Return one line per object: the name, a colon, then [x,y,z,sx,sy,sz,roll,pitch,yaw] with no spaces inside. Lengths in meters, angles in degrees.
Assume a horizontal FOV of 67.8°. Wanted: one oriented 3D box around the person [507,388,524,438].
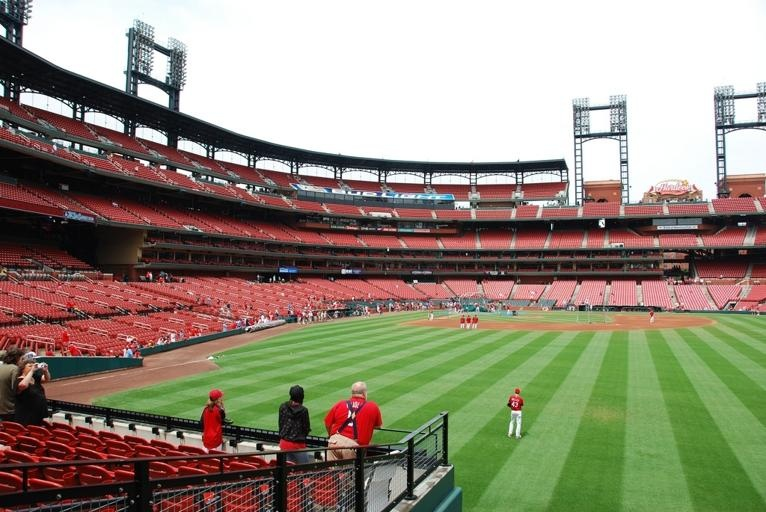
person: [5.151,6.187,22.423,0.595,1.900,1.281,-2,-11,9]
